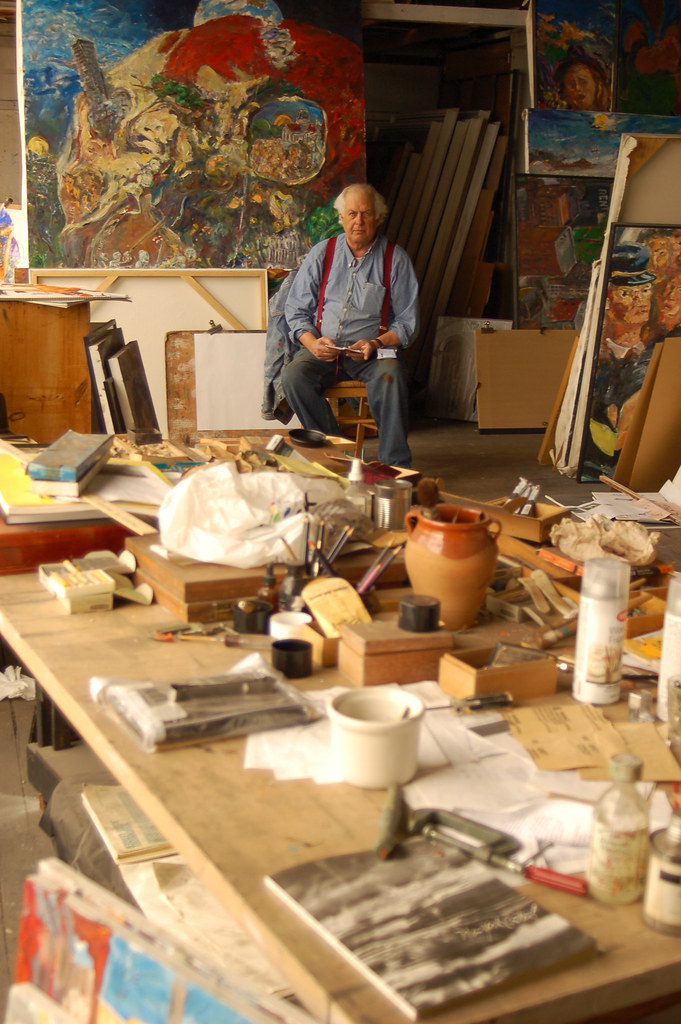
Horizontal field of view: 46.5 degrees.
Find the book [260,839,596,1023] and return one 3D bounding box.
[{"bbox_3d":[0.078,0.345,0.695,0.213,0.034,0.229,-4,9,-31],"label":"book"}]

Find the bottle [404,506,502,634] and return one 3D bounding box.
[{"bbox_3d":[0.201,0.084,1.461,0.231,0.248,0.219,2,8,1],"label":"bottle"}]

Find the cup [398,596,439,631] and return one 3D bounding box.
[{"bbox_3d":[0.127,0.167,1.272,0.058,0.039,0.055,4,15,-1],"label":"cup"}]

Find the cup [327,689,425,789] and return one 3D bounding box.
[{"bbox_3d":[0.036,0.266,0.979,0.113,0.078,0.111,0,6,0],"label":"cup"}]

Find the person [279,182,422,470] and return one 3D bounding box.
[{"bbox_3d":[0.058,-1.347,5.653,0.974,1.976,0.678,2,9,4],"label":"person"}]

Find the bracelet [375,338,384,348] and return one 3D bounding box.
[{"bbox_3d":[0.268,-1.213,5.620,0.086,0.079,0.062,-2,-2,-6],"label":"bracelet"}]
